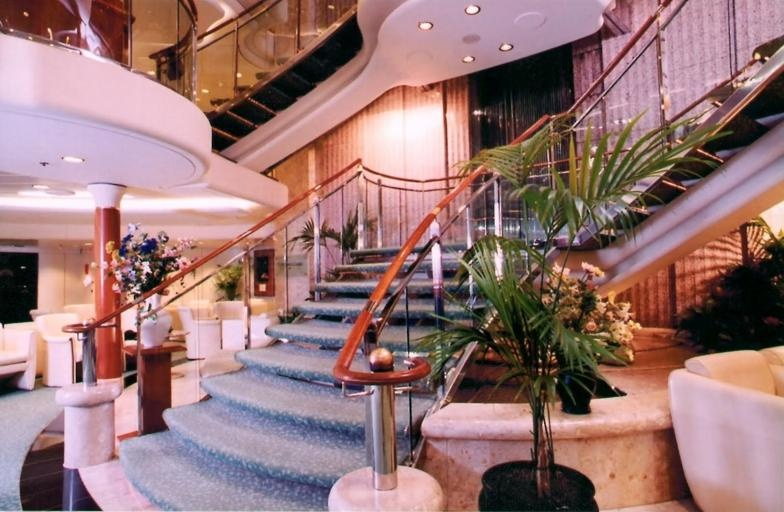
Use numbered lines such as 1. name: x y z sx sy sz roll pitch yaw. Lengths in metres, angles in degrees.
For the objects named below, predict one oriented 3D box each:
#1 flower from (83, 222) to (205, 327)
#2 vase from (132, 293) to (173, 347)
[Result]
1. flower: -3.317 0.222 7.510 0.878 1.092 1.895 5 -3 -40
2. vase: -2.962 0.798 7.095 0.374 0.611 0.435 4 -2 -22
